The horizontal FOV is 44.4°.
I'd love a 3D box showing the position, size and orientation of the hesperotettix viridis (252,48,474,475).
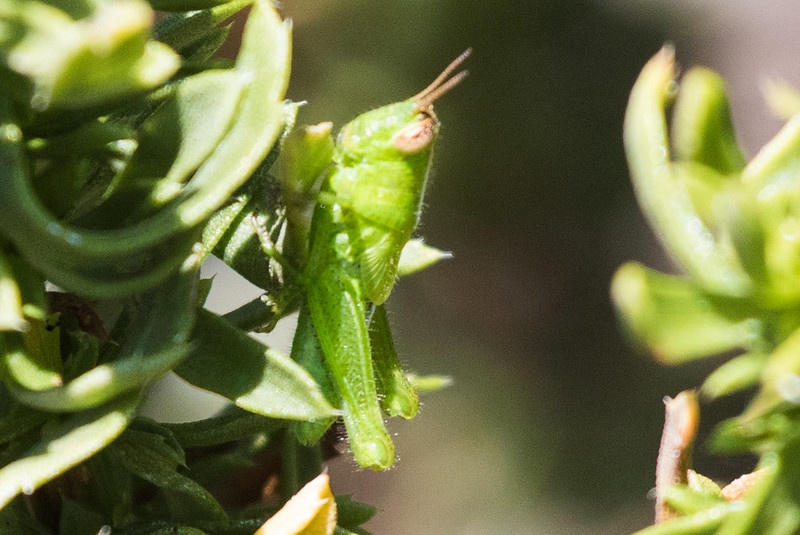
[{"bbox_3d":[-0.020,-0.003,0.716,0.137,0.299,0.134,3,6,3],"label":"hesperotettix viridis"}]
